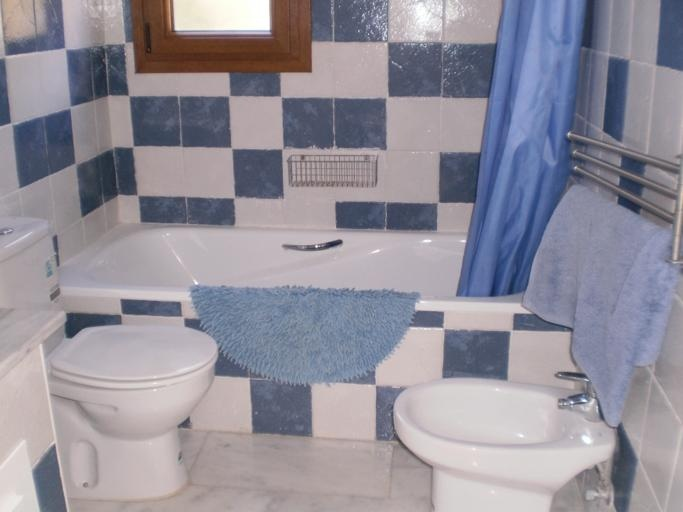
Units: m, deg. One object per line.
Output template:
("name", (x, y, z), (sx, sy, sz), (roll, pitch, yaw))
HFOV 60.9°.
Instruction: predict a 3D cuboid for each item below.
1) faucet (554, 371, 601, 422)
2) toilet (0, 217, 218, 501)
("faucet", (0.798, 0.466, 1.965), (0.145, 0.154, 0.086), (6, 12, 26))
("toilet", (-0.649, 0.322, 2.622), (1.035, 1.286, 0.696), (0, 19, -7))
